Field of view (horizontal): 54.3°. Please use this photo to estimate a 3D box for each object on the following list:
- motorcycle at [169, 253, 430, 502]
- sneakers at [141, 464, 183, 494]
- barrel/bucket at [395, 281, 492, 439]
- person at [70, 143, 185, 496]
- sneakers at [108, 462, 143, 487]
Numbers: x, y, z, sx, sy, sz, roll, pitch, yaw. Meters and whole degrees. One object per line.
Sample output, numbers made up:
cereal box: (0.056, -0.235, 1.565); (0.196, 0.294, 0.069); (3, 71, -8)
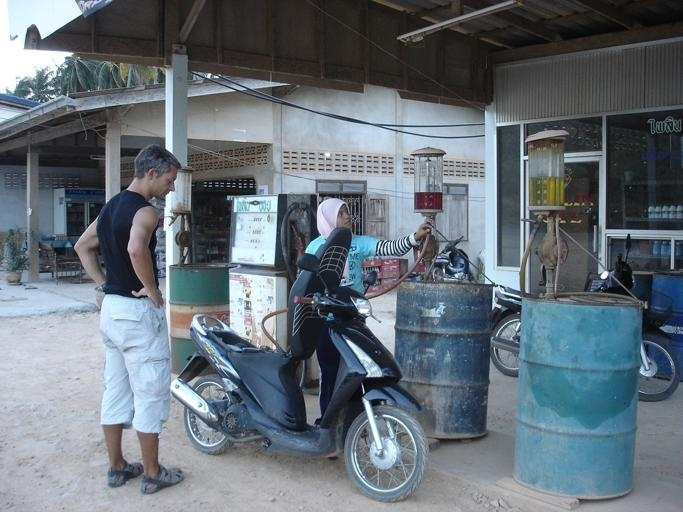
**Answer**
motorcycle: (-0.335, 0.962, 5.682); (2.263, 1.946, 0.544); (3, 7, 23)
sneakers: (-1.470, 1.837, 5.547); (0.145, 0.198, 0.369); (6, 12, 37)
barrel/bucket: (1.014, 0.956, 6.812); (1.101, 2.001, 1.218); (1, 2, 19)
person: (-1.747, 0.508, 5.537); (0.817, 2.826, 0.491); (1, 7, 13)
sneakers: (-1.810, 1.829, 5.627); (0.118, 0.157, 0.319); (5, 12, 28)
